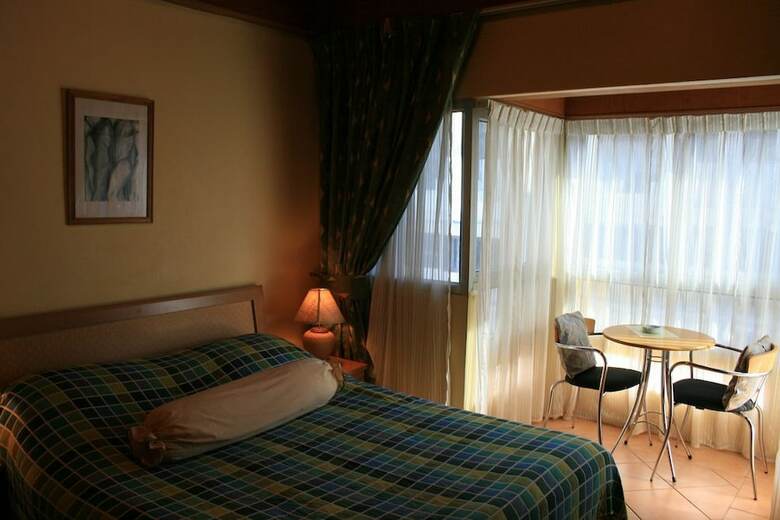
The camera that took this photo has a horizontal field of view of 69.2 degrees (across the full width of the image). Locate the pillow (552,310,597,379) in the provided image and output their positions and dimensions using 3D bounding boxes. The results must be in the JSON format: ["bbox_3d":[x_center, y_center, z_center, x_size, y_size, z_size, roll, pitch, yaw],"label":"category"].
[{"bbox_3d":[1.787,0.794,5.431,0.280,0.530,0.565,13,20,29],"label":"pillow"}]

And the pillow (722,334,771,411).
[{"bbox_3d":[2.979,0.959,4.702,0.544,0.603,0.218,-6,12,-35],"label":"pillow"}]
